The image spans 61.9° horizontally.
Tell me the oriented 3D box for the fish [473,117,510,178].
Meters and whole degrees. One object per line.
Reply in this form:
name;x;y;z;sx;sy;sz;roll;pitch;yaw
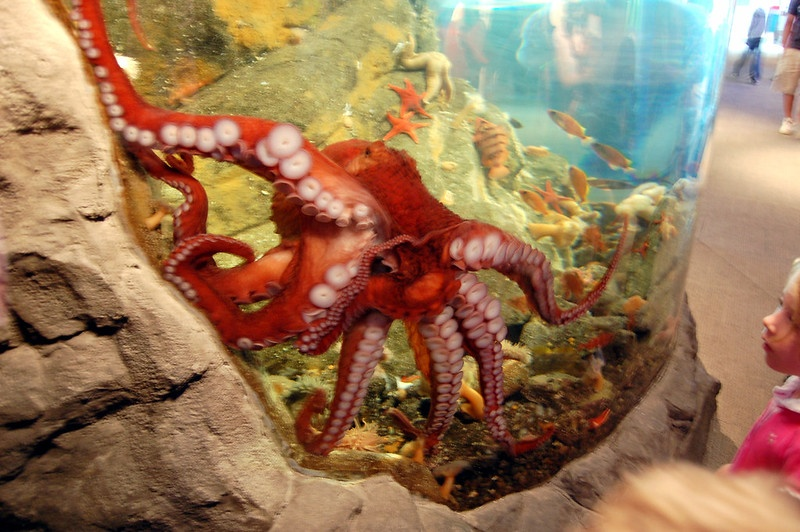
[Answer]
fish;0.344;-0.443;2.467;0.145;0.214;0.065;-14;14;5

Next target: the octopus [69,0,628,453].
octopus;-0.214;-0.132;2.918;1.576;0.720;1.525;19;8;-7

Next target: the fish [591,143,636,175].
fish;0.800;-0.413;2.529;0.187;0.082;0.024;26;15;-9

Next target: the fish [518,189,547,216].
fish;0.500;-0.247;2.535;0.107;0.047;0.022;39;38;-1

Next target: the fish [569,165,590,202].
fish;0.679;-0.320;2.535;0.059;0.137;0.025;-32;2;19
